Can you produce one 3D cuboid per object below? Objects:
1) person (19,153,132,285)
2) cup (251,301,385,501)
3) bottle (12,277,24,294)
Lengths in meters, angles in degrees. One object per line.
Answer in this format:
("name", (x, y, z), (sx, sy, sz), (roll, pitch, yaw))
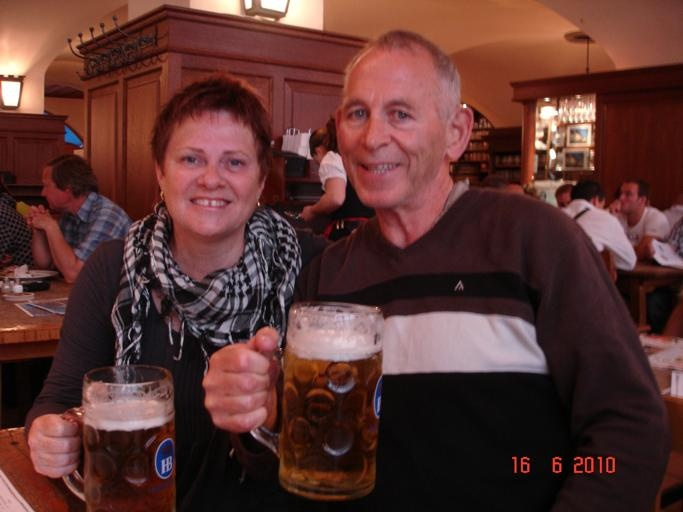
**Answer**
("person", (-1.766, -0.243, 3.834), (0.772, 0.900, 0.609), (-9, 11, -38))
("cup", (-0.020, 0.252, 0.982), (0.177, 0.322, 0.132), (1, 5, -8))
("bottle", (-1.714, 0.160, 2.924), (0.063, 0.070, 0.066), (0, -3, -9))
